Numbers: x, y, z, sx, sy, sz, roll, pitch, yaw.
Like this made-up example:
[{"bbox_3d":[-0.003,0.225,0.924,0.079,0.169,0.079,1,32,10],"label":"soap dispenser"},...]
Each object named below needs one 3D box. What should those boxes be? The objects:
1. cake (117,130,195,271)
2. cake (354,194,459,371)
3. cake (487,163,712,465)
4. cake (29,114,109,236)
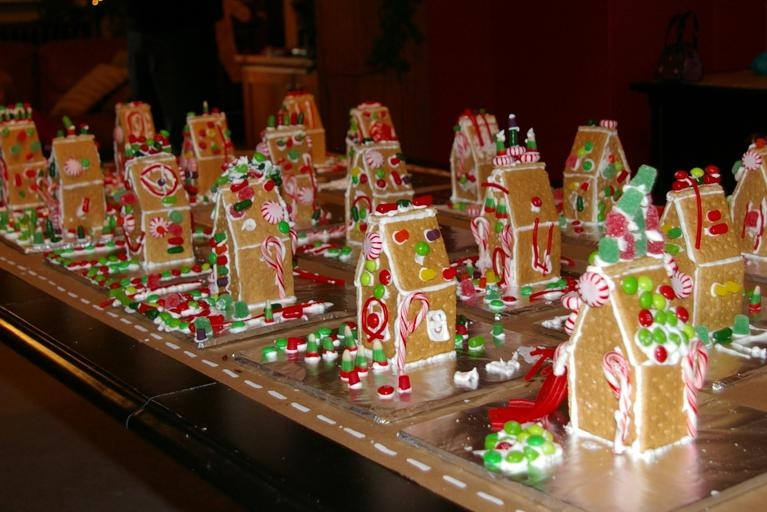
[{"bbox_3d":[-1.096,-0.262,3.395,0.319,0.588,0.394,-10,17,-20],"label":"cake"},{"bbox_3d":[0.077,0.082,2.316,0.297,0.496,0.228,-14,18,-31],"label":"cake"},{"bbox_3d":[0.575,0.127,1.820,0.546,0.671,0.322,-3,16,6],"label":"cake"},{"bbox_3d":[-1.638,-0.376,3.719,0.322,0.570,0.241,-7,16,-11],"label":"cake"}]
